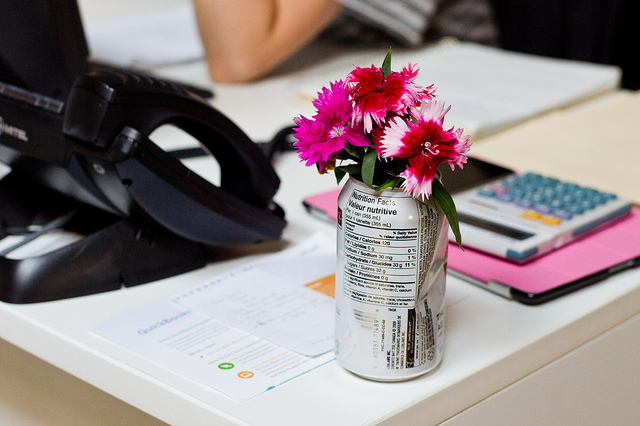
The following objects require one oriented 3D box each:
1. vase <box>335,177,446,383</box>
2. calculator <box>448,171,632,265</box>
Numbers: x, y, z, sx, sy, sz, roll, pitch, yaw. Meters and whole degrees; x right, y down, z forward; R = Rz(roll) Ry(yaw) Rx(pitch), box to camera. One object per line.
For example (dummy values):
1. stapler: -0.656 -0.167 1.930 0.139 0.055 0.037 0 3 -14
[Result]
1. vase: 0.064 0.062 0.523 0.102 0.165 0.114 2 42 9
2. calculator: 0.268 0.000 0.708 0.163 0.023 0.146 -21 28 -26
